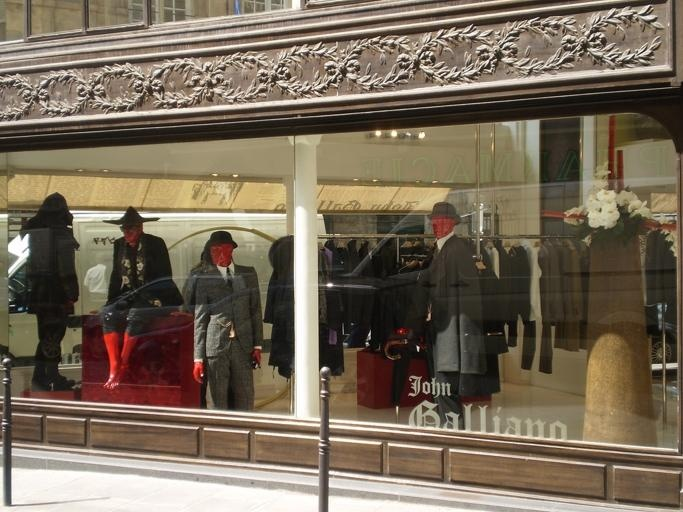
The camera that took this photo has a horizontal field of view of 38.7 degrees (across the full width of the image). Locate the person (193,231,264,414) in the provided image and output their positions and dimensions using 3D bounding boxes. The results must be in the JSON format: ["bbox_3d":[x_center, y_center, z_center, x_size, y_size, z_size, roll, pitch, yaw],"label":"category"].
[{"bbox_3d":[-1.309,0.731,11.194,0.763,2.021,0.198,-2,-2,22],"label":"person"}]

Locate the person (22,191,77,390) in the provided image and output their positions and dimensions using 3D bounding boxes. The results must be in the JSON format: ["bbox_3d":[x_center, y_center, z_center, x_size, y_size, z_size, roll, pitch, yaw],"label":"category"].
[{"bbox_3d":[-3.495,0.426,11.693,0.712,2.346,0.212,-2,-2,25],"label":"person"}]

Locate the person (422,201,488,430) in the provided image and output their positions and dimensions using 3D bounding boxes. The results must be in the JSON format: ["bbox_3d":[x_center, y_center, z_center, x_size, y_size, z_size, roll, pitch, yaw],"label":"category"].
[{"bbox_3d":[1.259,0.627,10.598,0.612,2.413,0.149,-2,-2,7],"label":"person"}]

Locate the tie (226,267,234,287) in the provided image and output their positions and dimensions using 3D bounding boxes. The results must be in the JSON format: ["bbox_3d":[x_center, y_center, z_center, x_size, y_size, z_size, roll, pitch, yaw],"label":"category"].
[{"bbox_3d":[-1.285,0.237,11.189,0.085,0.231,0.019,-2,-2,20],"label":"tie"}]
